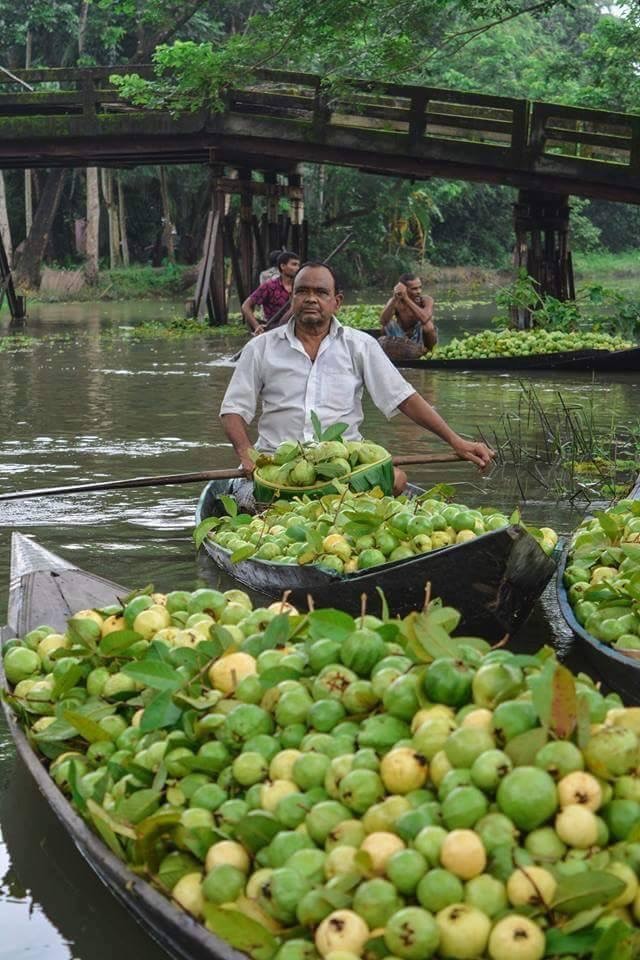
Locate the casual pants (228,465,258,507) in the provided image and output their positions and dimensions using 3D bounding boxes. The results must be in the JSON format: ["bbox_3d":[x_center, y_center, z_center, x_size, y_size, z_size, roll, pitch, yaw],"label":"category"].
[{"bbox_3d":[-0.413,0.038,5.072,0.129,0.093,0.197,25,20,-19],"label":"casual pants"}]

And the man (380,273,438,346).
[{"bbox_3d":[1.260,-2.308,13.521,0.813,1.088,0.942,5,14,43],"label":"man"}]

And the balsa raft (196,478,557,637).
[{"bbox_3d":[0.168,0.265,3.549,0.512,0.305,1.366,-3,5,-24],"label":"balsa raft"}]

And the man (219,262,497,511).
[{"bbox_3d":[0.123,-0.548,5.224,1.812,1.271,1.066,2,3,24],"label":"man"}]
